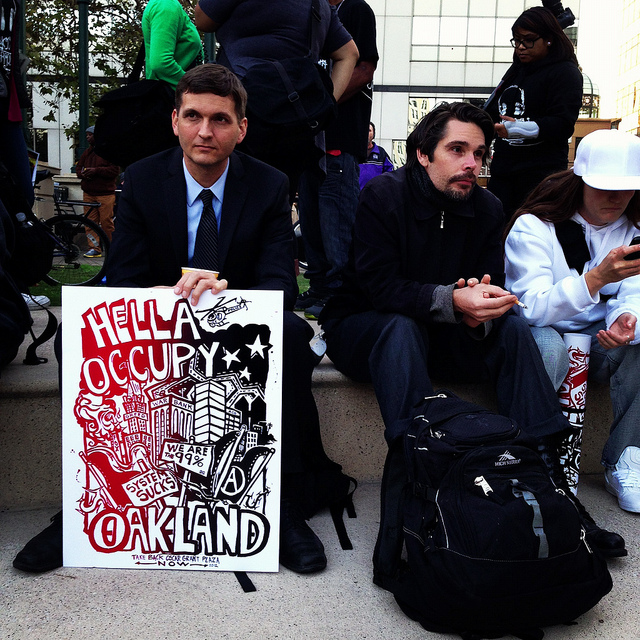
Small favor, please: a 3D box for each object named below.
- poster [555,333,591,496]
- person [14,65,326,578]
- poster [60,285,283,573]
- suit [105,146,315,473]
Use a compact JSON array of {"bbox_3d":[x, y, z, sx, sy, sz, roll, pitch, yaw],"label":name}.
[{"bbox_3d":[1.003,0.406,2.959,0.158,0.705,0.158,5,-6,19],"label":"poster"},{"bbox_3d":[-0.436,-0.069,2.716,1.019,1.689,0.894,3,14,1],"label":"person"},{"bbox_3d":[-0.496,0.365,2.463,0.759,0.927,0.010,-1,-4,8],"label":"poster"},{"bbox_3d":[-0.395,0.013,2.809,0.846,1.311,0.824,0,11,-2],"label":"suit"}]
